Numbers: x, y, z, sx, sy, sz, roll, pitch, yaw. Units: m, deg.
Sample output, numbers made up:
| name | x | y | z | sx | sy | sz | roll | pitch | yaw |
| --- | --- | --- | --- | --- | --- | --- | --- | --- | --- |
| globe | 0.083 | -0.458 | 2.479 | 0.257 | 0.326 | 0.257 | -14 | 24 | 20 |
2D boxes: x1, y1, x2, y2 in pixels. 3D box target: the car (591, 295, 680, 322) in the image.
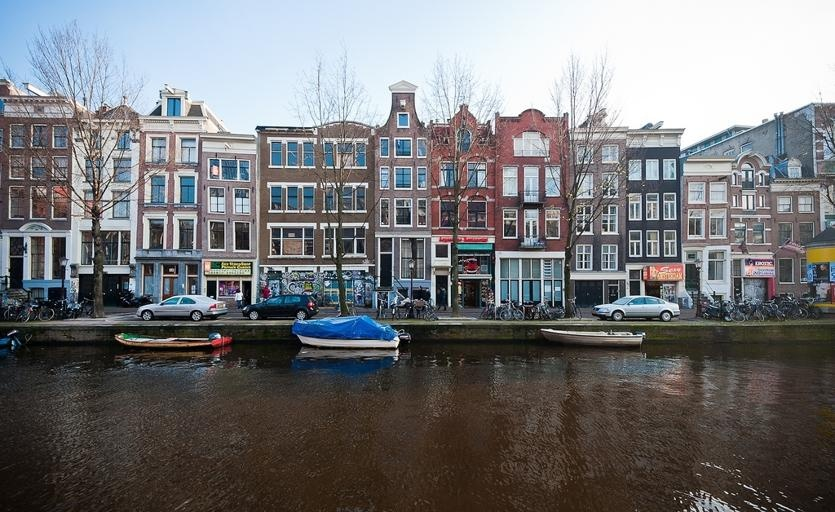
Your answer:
| name | x | y | z | sx | sy | sz | roll | pitch | yaw |
| --- | --- | --- | --- | --- | --- | --- | --- | --- | --- |
| car | 18.322 | 4.497 | 71.434 | 6.635 | 1.934 | 2.637 | 1 | -5 | 1 |

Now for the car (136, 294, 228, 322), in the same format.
| name | x | y | z | sx | sy | sz | roll | pitch | yaw |
| --- | --- | --- | --- | --- | --- | --- | --- | --- | --- |
| car | -19.205 | 4.363 | 70.890 | 6.579 | 1.902 | 2.653 | 2 | -5 | -2 |

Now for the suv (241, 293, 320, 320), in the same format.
| name | x | y | z | sx | sy | sz | roll | pitch | yaw |
| --- | --- | --- | --- | --- | --- | --- | --- | --- | --- |
| suv | -11.296 | 4.275 | 71.524 | 5.337 | 1.638 | 2.385 | 2 | -7 | -2 |
